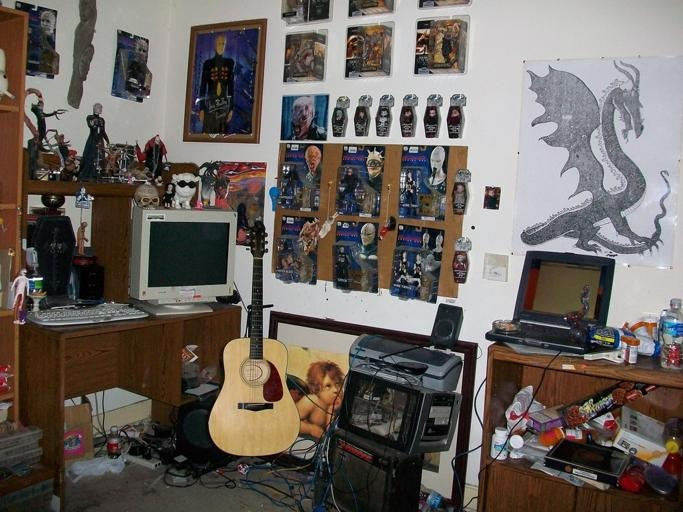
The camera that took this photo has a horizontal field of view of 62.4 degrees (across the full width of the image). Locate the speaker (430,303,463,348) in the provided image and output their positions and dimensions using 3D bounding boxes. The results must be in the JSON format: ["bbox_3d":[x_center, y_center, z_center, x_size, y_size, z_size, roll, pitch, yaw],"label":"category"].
[{"bbox_3d":[0.573,0.363,3.167,0.145,0.275,0.148,11,22,7],"label":"speaker"}]

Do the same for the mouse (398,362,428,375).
[{"bbox_3d":[0.368,0.580,2.934,0.094,0.025,0.073,4,12,16],"label":"mouse"}]

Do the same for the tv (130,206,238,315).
[{"bbox_3d":[-0.998,-0.006,3.620,0.593,0.660,0.364,-1,18,-27],"label":"tv"}]

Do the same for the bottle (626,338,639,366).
[{"bbox_3d":[1.363,0.447,2.657,0.057,0.112,0.090,10,16,27],"label":"bottle"}]

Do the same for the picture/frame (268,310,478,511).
[{"bbox_3d":[0.210,0.888,3.146,0.974,0.812,0.046,6,-1,32],"label":"picture/frame"}]

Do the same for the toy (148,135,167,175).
[{"bbox_3d":[-1.285,-0.684,3.922,0.134,0.322,0.089,-1,34,-24],"label":"toy"}]

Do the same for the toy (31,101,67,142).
[{"bbox_3d":[-1.774,-0.788,3.395,0.211,0.274,0.058,-5,-24,-47],"label":"toy"}]

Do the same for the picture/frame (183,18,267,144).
[{"bbox_3d":[-0.767,-1.193,3.844,0.745,1.013,0.063,5,0,24],"label":"picture/frame"}]

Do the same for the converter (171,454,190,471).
[{"bbox_3d":[-0.978,1.264,3.446,0.056,0.061,0.057,-7,15,-39],"label":"converter"}]

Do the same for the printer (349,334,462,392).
[{"bbox_3d":[0.331,0.584,3.081,0.613,0.163,0.302,11,17,26],"label":"printer"}]

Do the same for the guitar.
[{"bbox_3d":[-0.460,0.556,3.339,0.484,1.095,0.560,5,14,9],"label":"guitar"}]

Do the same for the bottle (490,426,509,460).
[{"bbox_3d":[0.797,0.941,2.852,0.077,0.144,0.081,-1,12,0],"label":"bottle"}]
